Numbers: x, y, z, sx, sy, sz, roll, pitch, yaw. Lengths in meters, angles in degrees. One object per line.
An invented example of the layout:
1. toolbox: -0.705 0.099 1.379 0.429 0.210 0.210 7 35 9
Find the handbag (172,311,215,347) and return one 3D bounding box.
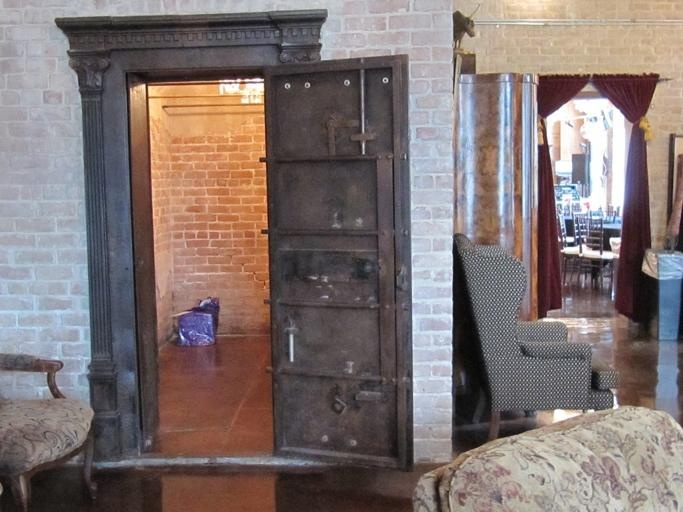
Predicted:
1. handbag: -1.436 0.722 9.918 0.325 0.301 0.334 1 4 3

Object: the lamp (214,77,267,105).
1. lamp: -0.995 -1.614 9.807 0.424 0.198 0.206 -3 12 -13

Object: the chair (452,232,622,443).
1. chair: 1.449 0.516 7.327 1.160 1.284 1.028 0 5 1

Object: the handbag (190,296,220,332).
1. handbag: -1.352 0.653 9.949 0.266 0.348 0.501 -2 4 -2
